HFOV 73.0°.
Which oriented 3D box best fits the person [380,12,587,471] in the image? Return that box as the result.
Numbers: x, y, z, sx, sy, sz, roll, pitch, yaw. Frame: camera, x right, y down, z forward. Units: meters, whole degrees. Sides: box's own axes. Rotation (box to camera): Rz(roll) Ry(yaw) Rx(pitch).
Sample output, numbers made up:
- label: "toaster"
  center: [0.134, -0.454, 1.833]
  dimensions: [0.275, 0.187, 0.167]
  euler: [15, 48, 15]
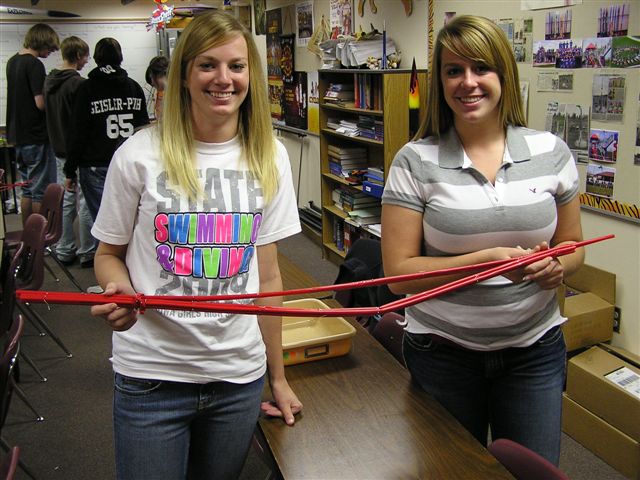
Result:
- label: "person"
  center: [0.538, 0.038, 1.437]
  dimensions: [0.581, 1.460, 0.472]
  euler: [8, 19, 31]

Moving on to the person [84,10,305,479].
- label: "person"
  center: [-0.331, 0.138, 1.234]
  dimensions: [0.621, 1.464, 0.321]
  euler: [-14, 20, -34]
